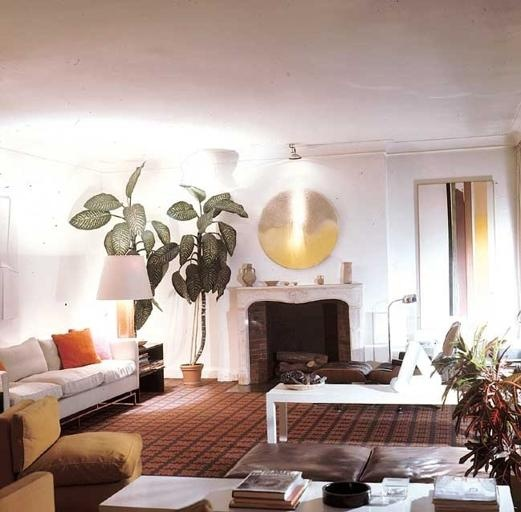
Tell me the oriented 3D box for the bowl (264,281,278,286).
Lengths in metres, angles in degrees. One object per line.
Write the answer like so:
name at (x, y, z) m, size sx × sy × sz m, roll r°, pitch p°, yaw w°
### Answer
bowl at (0.157, 0.389, 6.351) m, size 0.185 × 0.084 × 0.150 m, roll -1°, pitch -1°, yaw 0°

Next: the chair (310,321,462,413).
chair at (0.814, 0.820, 3.173) m, size 0.958 × 0.403 × 0.592 m, roll -1°, pitch -1°, yaw 12°

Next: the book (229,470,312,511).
book at (0.034, 0.742, 1.391) m, size 0.211 × 0.046 × 0.207 m, roll -1°, pitch 2°, yaw 15°

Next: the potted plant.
potted plant at (-0.868, 0.351, 6.500) m, size 1.393 × 2.770 × 0.682 m, roll -1°, pitch -1°, yaw 1°

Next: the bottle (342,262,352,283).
bottle at (1.233, 0.230, 6.152) m, size 0.102 × 0.302 × 0.246 m, roll -2°, pitch -1°, yaw 34°

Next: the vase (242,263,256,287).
vase at (-0.183, 0.275, 6.390) m, size 0.199 × 0.326 × 0.097 m, roll -1°, pitch -1°, yaw -5°

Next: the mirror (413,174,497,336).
mirror at (2.719, 0.002, 6.145) m, size 1.014 × 2.157 × 0.177 m, roll -1°, pitch -1°, yaw 8°

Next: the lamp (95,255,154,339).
lamp at (-1.723, 0.543, 5.743) m, size 0.595 × 1.114 × 0.642 m, roll -1°, pitch -1°, yaw 3°

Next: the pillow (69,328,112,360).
pillow at (-2.110, 1.111, 5.514) m, size 0.185 × 0.416 × 0.441 m, roll -25°, pitch -12°, yaw 20°

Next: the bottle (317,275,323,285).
bottle at (0.838, 0.341, 6.203) m, size 0.110 × 0.140 × 0.103 m, roll -1°, pitch 4°, yaw 0°
